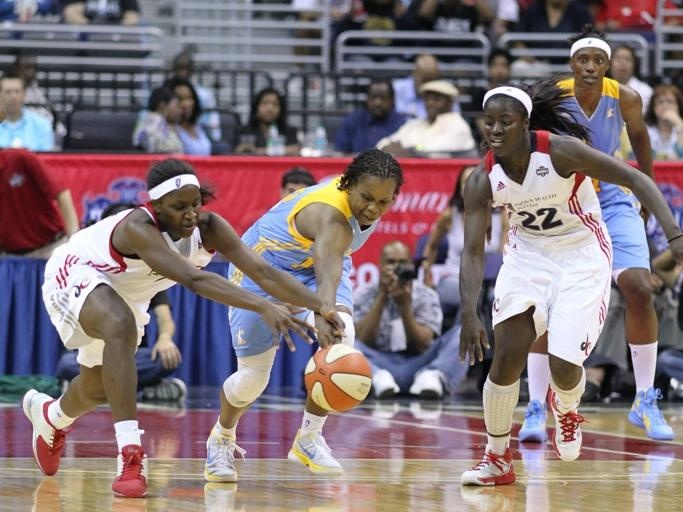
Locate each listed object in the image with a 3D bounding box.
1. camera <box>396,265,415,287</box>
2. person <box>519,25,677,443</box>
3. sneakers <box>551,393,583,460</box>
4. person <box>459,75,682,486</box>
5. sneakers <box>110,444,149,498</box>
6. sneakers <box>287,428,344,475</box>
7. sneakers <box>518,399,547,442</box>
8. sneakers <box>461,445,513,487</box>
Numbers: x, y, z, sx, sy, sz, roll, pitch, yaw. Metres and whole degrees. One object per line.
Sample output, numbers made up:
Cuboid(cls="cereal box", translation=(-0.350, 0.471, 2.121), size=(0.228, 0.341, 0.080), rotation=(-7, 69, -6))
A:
Cuboid(cls="camera", translation=(0.581, 0.175, 8.593), size=(0.126, 0.201, 0.175), rotation=(3, 13, 12))
Cuboid(cls="person", translation=(1.804, -0.154, 6.584), size=(1.428, 3.043, 1.099), rotation=(2, -6, -16))
Cuboid(cls="sneakers", translation=(1.305, 1.042, 5.452), size=(0.148, 0.468, 0.173), rotation=(-4, -1, 5))
Cuboid(cls="person", translation=(1.192, 0.163, 5.280), size=(1.047, 2.039, 0.599), rotation=(0, 0, 7))
Cuboid(cls="sneakers", translation=(-1.116, 1.142, 4.914), size=(0.183, 0.273, 0.254), rotation=(1, 0, -14))
Cuboid(cls="sneakers", translation=(-0.153, 1.173, 5.554), size=(0.399, 0.216, 0.153), rotation=(9, 1, 42))
Cuboid(cls="sneakers", translation=(1.371, 1.175, 6.655), size=(0.183, 0.264, 0.546), rotation=(2, 6, 15))
Cuboid(cls="sneakers", translation=(0.822, 1.190, 5.224), size=(0.336, 0.243, 0.138), rotation=(7, -19, -31))
